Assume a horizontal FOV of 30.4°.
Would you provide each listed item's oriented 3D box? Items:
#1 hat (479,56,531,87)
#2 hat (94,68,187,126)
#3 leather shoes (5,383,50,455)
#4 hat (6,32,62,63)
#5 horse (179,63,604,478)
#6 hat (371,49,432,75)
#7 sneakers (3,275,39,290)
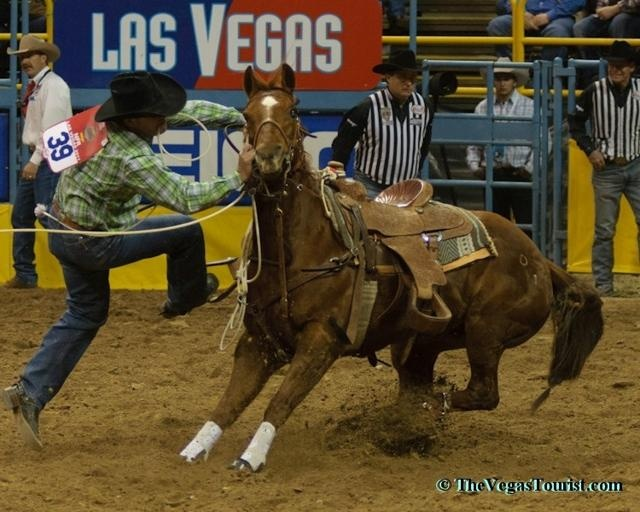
[{"bbox_3d":[1.786,-1.754,11.262,0.459,0.196,0.524,1,-18,18],"label":"hat"},{"bbox_3d":[-1.043,-0.930,6.899,0.412,0.153,0.338,-7,42,3],"label":"hat"},{"bbox_3d":[-1.792,0.954,7.108,0.218,0.461,0.164,-26,5,-12],"label":"leather shoes"},{"bbox_3d":[-2.460,-1.777,10.183,0.290,0.236,0.482,8,16,26],"label":"hat"},{"bbox_3d":[0.546,0.151,7.584,3.396,2.209,1.074,3,-7,-43],"label":"horse"},{"bbox_3d":[0.643,-1.490,9.209,0.321,0.120,0.255,0,6,-4],"label":"hat"},{"bbox_3d":[-2.724,0.248,10.917,0.341,0.136,0.113,7,3,-4],"label":"sneakers"}]
